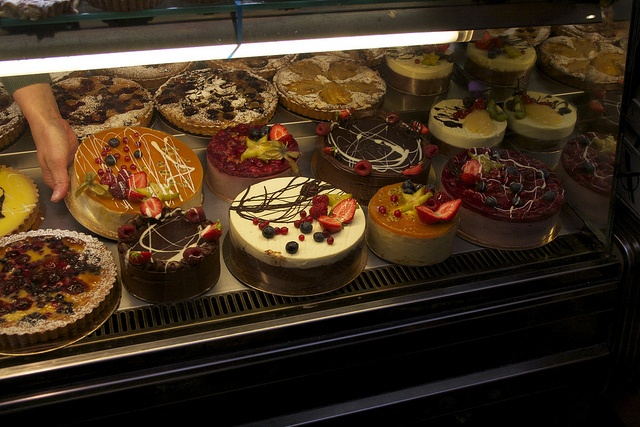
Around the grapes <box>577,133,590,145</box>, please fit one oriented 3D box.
[{"bbox_3d":[2.082,-0.589,3.829,0.064,0.034,0.082,-2,55,4],"label":"grapes"}]

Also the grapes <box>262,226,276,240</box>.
[{"bbox_3d":[-0.315,0.113,3.018,0.078,0.071,0.071,7,60,-5],"label":"grapes"}]

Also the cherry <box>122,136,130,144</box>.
[{"bbox_3d":[-1.380,-0.526,3.470,0.040,0.021,0.039,38,65,16],"label":"cherry"}]

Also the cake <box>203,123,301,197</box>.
[{"bbox_3d":[-0.540,-0.427,3.525,0.617,0.347,0.593,-22,51,-27],"label":"cake"}]

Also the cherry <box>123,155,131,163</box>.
[{"bbox_3d":[-1.332,-0.379,3.369,0.039,0.034,0.020,-8,1,-1],"label":"cherry"}]

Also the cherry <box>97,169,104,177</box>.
[{"bbox_3d":[-1.466,-0.275,3.251,0.042,0.021,0.038,-2,60,-10],"label":"cherry"}]

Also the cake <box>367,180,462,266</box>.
[{"bbox_3d":[0.584,0.097,3.200,0.592,0.261,0.543,-6,48,-8],"label":"cake"}]

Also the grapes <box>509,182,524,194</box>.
[{"bbox_3d":[1.377,-0.184,3.410,0.069,0.075,0.066,58,23,7],"label":"grapes"}]

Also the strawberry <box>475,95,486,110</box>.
[{"bbox_3d":[1.290,-0.890,3.914,0.098,0.035,0.074,-35,67,-18],"label":"strawberry"}]

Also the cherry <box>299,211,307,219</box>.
[{"bbox_3d":[-0.111,0.004,3.134,0.046,0.023,0.041,0,75,-2],"label":"cherry"}]

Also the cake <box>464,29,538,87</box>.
[{"bbox_3d":[1.603,-1.414,4.430,0.638,0.357,0.596,-8,48,-16],"label":"cake"}]

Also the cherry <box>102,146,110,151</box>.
[{"bbox_3d":[-1.490,-0.453,3.399,0.041,0.037,0.037,-1,36,-1],"label":"cherry"}]

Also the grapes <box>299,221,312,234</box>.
[{"bbox_3d":[-0.087,0.083,3.097,0.075,0.053,0.070,-7,51,-25],"label":"grapes"}]

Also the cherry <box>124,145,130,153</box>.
[{"bbox_3d":[-1.355,-0.455,3.407,0.043,0.019,0.040,4,52,-8],"label":"cherry"}]

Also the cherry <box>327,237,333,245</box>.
[{"bbox_3d":[0.064,0.165,3.016,0.039,0.042,0.041,-6,8,-26],"label":"cherry"}]

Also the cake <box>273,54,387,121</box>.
[{"bbox_3d":[0.125,-1.090,4.179,0.745,0.156,0.707,-18,47,-22],"label":"cake"}]

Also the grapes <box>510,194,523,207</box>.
[{"bbox_3d":[1.354,-0.092,3.348,0.074,0.030,0.066,28,65,34],"label":"grapes"}]

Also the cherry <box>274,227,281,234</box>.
[{"bbox_3d":[-0.264,0.106,3.050,0.037,0.039,0.035,1,6,9],"label":"cherry"}]

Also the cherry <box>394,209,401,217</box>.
[{"bbox_3d":[0.512,-0.007,3.210,0.043,0.046,0.041,-8,12,3],"label":"cherry"}]

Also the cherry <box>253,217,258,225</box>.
[{"bbox_3d":[-0.410,0.045,3.104,0.036,0.032,0.033,-9,47,-17],"label":"cherry"}]

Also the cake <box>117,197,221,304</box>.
[{"bbox_3d":[-0.921,0.235,2.929,0.592,0.340,0.596,36,50,29],"label":"cake"}]

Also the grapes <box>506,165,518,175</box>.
[{"bbox_3d":[1.387,-0.318,3.513,0.062,0.034,0.057,-1,44,3],"label":"grapes"}]

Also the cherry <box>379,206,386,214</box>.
[{"bbox_3d":[0.418,-0.027,3.248,0.046,0.040,0.042,1,3,6],"label":"cherry"}]

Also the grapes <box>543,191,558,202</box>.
[{"bbox_3d":[1.601,-0.123,3.363,0.075,0.045,0.072,18,50,20],"label":"grapes"}]

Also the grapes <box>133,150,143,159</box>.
[{"bbox_3d":[-1.264,-0.412,3.383,0.052,0.027,0.048,-9,69,-25],"label":"grapes"}]

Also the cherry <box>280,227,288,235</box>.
[{"bbox_3d":[-0.225,0.105,3.046,0.044,0.046,0.041,-3,7,2],"label":"cherry"}]

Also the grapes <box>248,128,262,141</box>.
[{"bbox_3d":[-0.466,-0.589,3.568,0.101,0.043,0.095,13,45,9],"label":"grapes"}]

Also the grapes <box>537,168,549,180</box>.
[{"bbox_3d":[1.622,-0.289,3.538,0.077,0.034,0.070,-2,53,-3],"label":"grapes"}]

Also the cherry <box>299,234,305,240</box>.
[{"bbox_3d":[-0.115,0.143,3.017,0.029,0.024,0.028,-1,5,3],"label":"cherry"}]

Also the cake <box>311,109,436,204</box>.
[{"bbox_3d":[0.360,-0.418,3.720,0.782,0.271,0.798,37,49,27],"label":"cake"}]

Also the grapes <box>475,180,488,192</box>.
[{"bbox_3d":[1.128,-0.192,3.406,0.060,0.056,0.074,-1,1,6],"label":"grapes"}]

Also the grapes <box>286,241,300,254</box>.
[{"bbox_3d":[-0.170,0.200,2.965,0.085,0.053,0.069,-6,42,-5],"label":"grapes"}]

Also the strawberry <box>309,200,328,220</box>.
[{"bbox_3d":[-0.006,-0.023,3.174,0.119,0.089,0.090,-2,11,3],"label":"strawberry"}]

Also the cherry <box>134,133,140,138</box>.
[{"bbox_3d":[-1.318,-0.564,3.498,0.027,0.033,0.025,14,63,2],"label":"cherry"}]

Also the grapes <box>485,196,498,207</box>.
[{"bbox_3d":[1.170,-0.090,3.346,0.072,0.046,0.068,-23,55,-16],"label":"grapes"}]

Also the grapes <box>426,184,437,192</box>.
[{"bbox_3d":[0.766,-0.182,3.339,0.059,0.025,0.074,9,16,4],"label":"grapes"}]

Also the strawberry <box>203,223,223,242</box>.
[{"bbox_3d":[-0.632,0.117,3.020,0.137,0.094,0.134,-1,41,4],"label":"strawberry"}]

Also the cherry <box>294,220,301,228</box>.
[{"bbox_3d":[-0.142,0.061,3.091,0.040,0.033,0.039,-18,4,-44],"label":"cherry"}]

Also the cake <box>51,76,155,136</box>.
[{"bbox_3d":[-1.697,-0.861,3.801,0.636,0.134,0.620,-25,56,-39],"label":"cake"}]

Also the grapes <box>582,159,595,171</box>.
[{"bbox_3d":[1.999,-0.363,3.627,0.071,0.070,0.067,41,25,-11],"label":"grapes"}]

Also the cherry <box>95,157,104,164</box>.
[{"bbox_3d":[-1.507,-0.365,3.317,0.035,0.018,0.041,36,49,20],"label":"cherry"}]

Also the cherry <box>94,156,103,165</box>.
[{"bbox_3d":[-1.509,-0.365,3.319,0.047,0.024,0.043,-5,59,-15],"label":"cherry"}]

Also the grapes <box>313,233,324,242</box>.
[{"bbox_3d":[-0.005,0.143,3.028,0.066,0.046,0.049,-1,42,2],"label":"grapes"}]
